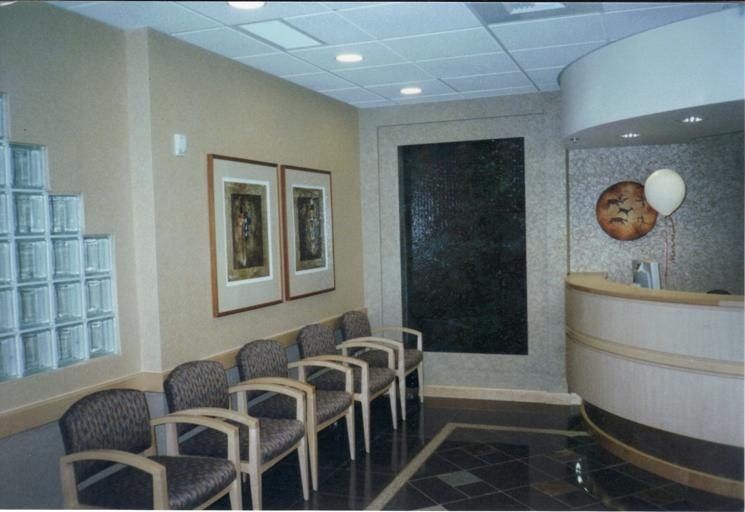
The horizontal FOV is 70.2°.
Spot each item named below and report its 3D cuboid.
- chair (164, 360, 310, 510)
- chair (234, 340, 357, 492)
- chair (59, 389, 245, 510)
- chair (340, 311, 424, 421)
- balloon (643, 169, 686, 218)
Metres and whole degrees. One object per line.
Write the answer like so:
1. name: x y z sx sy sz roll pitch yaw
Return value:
1. chair: -1.187 1.387 4.868 1.288 1.420 1.173 -1 -2 27
2. chair: -0.778 1.484 5.180 1.007 1.144 0.914 -1 3 29
3. chair: -1.609 1.467 3.802 1.004 0.899 0.760 2 8 20
4. chair: 0.020 1.309 6.468 1.053 0.992 0.993 -8 23 -10
5. balloon: 3.202 -0.685 5.757 0.461 0.485 0.457 0 -2 33
